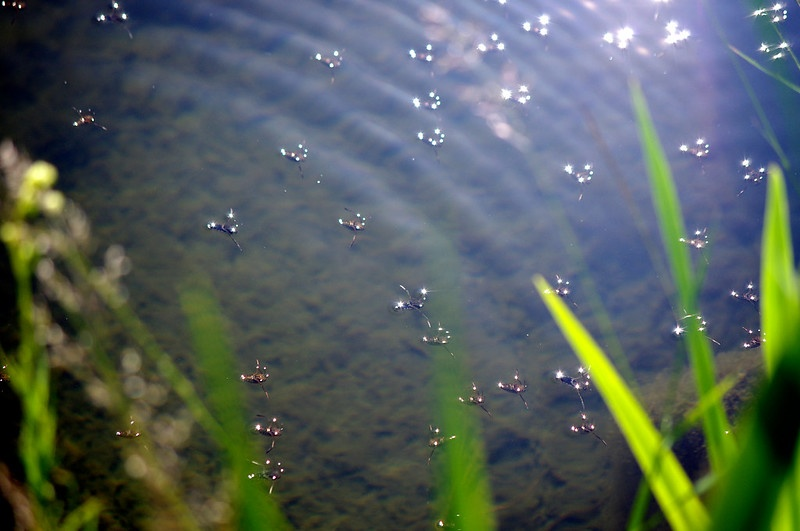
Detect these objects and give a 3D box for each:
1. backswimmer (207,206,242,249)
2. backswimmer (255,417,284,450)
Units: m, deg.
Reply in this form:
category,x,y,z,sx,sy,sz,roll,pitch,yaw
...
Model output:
category,x,y,z,sx,sy,sz,roll,pitch,yaw
backswimmer,-1.217,-0.270,5.128,0.185,0.310,0.089,-2,-16,-8
backswimmer,-0.845,1.055,4.783,0.145,0.240,0.066,3,-28,-4
